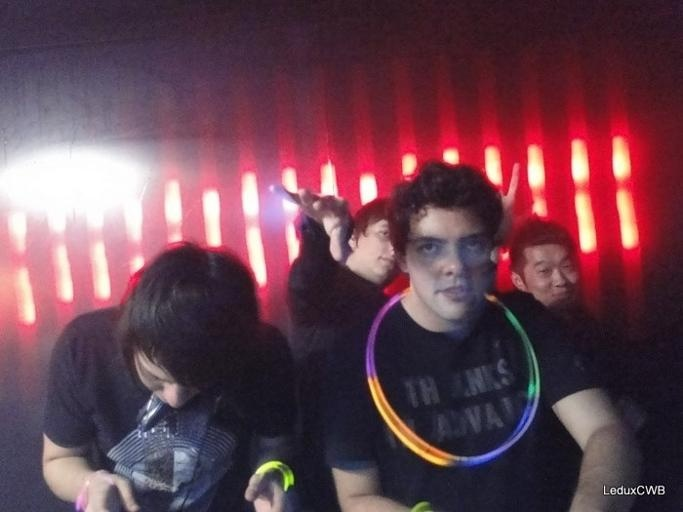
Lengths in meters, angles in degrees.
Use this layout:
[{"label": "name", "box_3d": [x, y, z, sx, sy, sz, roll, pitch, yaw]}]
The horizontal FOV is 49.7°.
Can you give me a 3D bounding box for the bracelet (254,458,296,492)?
[{"label": "bracelet", "box_3d": [-0.176, 0.584, 1.960, 0.094, 0.080, 0.031, 16, 4, 6]}]
